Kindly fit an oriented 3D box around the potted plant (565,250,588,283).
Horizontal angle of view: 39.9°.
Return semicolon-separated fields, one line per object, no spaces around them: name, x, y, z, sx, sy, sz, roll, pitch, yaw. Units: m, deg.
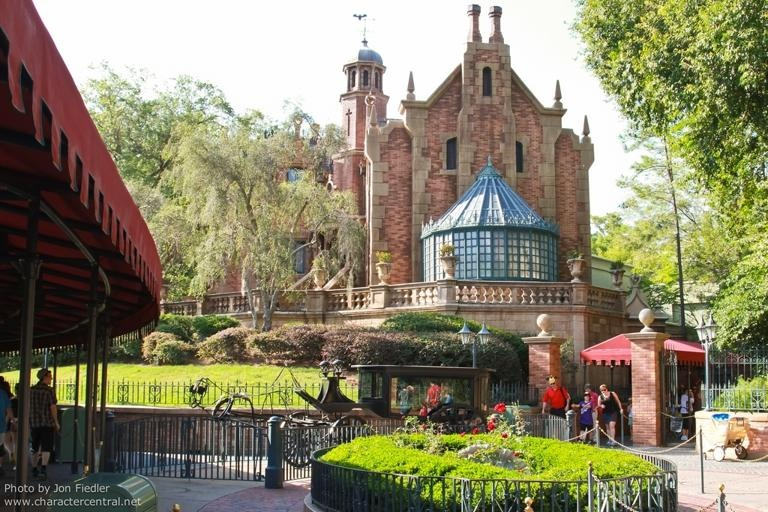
potted plant;8.717;0.440;47.950;1.143;1.388;1.205;2;-18;-2

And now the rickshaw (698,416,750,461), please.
rickshaw;10.576;5.687;32.661;1.896;1.658;0.961;-1;2;3

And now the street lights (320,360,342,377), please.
street lights;-1.739;3.721;34.998;0.922;0.601;0.486;5;-16;-21

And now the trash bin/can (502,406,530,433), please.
trash bin/can;3.844;4.806;30.905;0.782;0.709;1.291;13;-8;7
